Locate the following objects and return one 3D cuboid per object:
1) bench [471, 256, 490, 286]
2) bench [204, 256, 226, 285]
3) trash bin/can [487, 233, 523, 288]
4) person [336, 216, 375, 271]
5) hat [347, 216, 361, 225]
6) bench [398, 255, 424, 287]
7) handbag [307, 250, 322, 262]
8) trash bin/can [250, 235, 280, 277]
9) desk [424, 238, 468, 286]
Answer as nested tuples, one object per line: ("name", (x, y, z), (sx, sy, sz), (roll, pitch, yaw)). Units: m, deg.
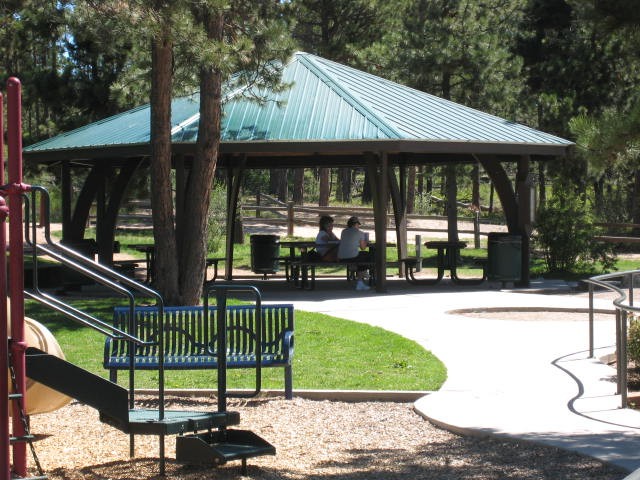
("bench", (4.087, 0.789, 31.589), (0.482, 0.821, 0.765), (-1, -1, 11))
("bench", (-2.796, 0.810, 32.871), (0.691, 0.463, 0.736), (0, 3, -9))
("trash bin/can", (4.635, 0.471, 30.863), (0.836, 1.269, 0.557), (0, -2, 10))
("person", (0.820, 0.112, 30.461), (0.786, 1.365, 1.294), (0, -2, 1))
("hat", (0.842, -0.450, 30.168), (0.257, 0.274, 0.202), (-23, 18, -20))
("bench", (2.306, 0.817, 31.775), (0.701, 0.758, 0.630), (1, -4, -28))
("handbag", (-0.142, 0.407, 30.427), (0.363, 0.267, 0.243), (0, -2, -6))
("trash bin/can", (-1.445, 0.418, 31.634), (0.889, 1.121, 0.854), (0, -3, -6))
("desk", (3.422, 0.574, 33.307), (0.897, 1.145, 4.723), (0, -2, 7))
